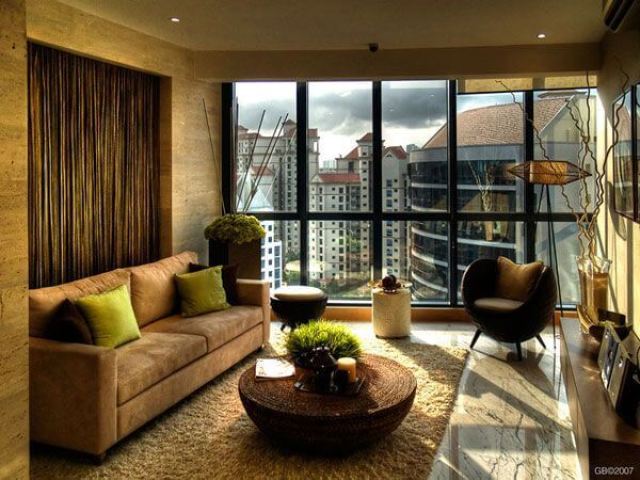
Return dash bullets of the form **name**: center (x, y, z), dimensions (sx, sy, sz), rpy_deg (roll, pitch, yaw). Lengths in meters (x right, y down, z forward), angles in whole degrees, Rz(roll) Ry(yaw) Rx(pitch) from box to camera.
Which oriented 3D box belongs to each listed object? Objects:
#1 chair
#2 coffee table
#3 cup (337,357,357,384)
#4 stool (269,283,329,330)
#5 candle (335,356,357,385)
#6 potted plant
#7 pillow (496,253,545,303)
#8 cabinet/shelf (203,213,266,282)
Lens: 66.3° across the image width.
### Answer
- **chair**: center (1.967, 0.695, 5.080), dimensions (0.833, 0.976, 0.891), rpy_deg (-1, 4, -43)
- **coffee table**: center (0.085, 1.215, 3.480), dimensions (1.262, 0.388, 0.754), rpy_deg (-3, 10, -17)
- **cup**: center (0.180, 0.944, 3.564), dimensions (0.148, 0.169, 0.152), rpy_deg (-1, -2, 0)
- **stool**: center (-0.259, 0.774, 5.433), dimensions (0.584, 0.532, 0.579), rpy_deg (-5, 12, -39)
- **candle**: center (0.191, 0.928, 3.480), dimensions (0.147, 0.174, 0.153), rpy_deg (-1, -2, -4)
- **potted plant**: center (0.045, 0.873, 3.854), dimensions (0.550, 0.592, 0.568), rpy_deg (-13, -37, 21)
- **pillow**: center (2.063, 0.431, 5.132), dimensions (0.223, 0.435, 0.457), rpy_deg (-7, 7, -33)
- **cabinet/shelf**: center (-0.992, 0.022, 5.782), dimensions (0.544, 0.687, 0.564), rpy_deg (-2, 13, -32)
